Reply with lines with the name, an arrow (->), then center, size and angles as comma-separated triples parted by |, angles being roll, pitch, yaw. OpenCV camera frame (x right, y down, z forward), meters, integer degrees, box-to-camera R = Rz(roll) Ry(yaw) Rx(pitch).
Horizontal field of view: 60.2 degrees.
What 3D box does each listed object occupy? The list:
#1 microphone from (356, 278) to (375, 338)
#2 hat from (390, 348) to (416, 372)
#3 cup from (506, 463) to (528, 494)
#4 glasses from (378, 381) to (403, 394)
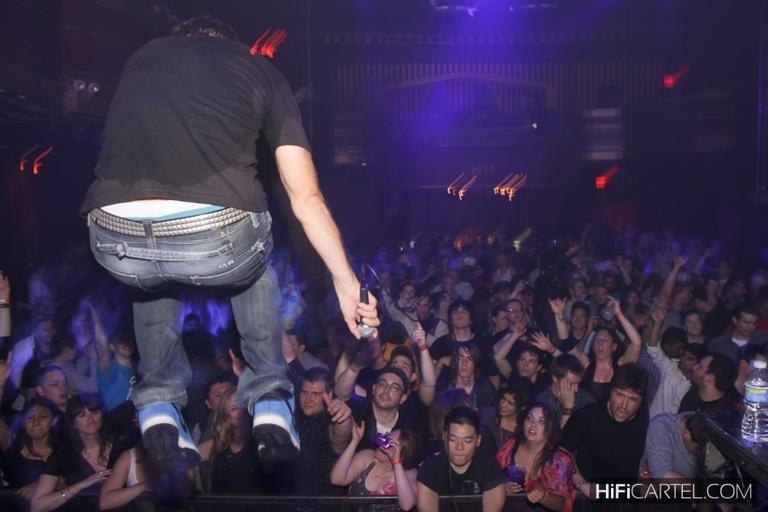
microphone -> -0.181, 0.415, 5.271 | 0.155, 0.413, 0.162 | -1, -8, 30
hat -> 0.212, 1.173, 7.578 | 0.289, 0.300, 0.390 | -7, -11, 0
cup -> 1.327, 2.229, 6.644 | 0.231, 0.256, 0.237 | 0, 1, 0
glasses -> 0.087, 1.403, 7.069 | 0.240, 0.140, 0.053 | -3, -11, -15
